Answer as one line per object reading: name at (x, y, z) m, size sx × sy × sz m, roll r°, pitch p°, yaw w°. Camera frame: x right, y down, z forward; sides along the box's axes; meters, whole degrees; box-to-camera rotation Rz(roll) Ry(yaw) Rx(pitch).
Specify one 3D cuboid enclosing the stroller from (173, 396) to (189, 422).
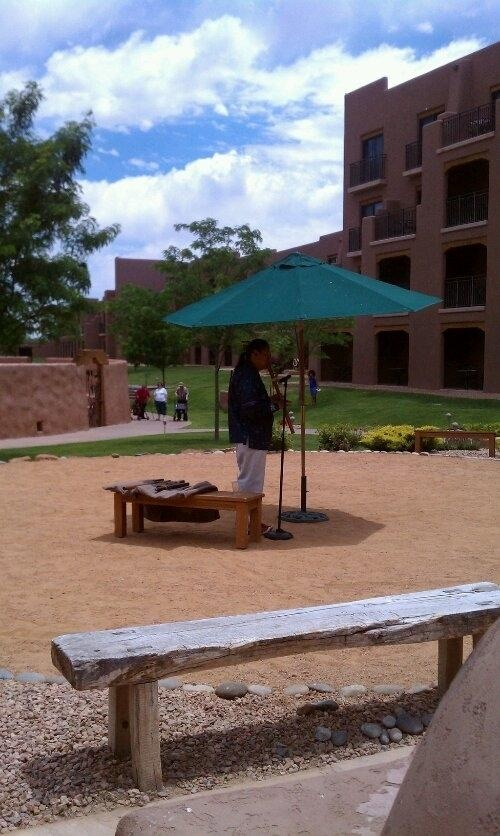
stroller at (-2.548, -0.252, 28.982) m, size 0.417 × 0.627 × 1.129 m, roll 0°, pitch -2°, yaw -4°
